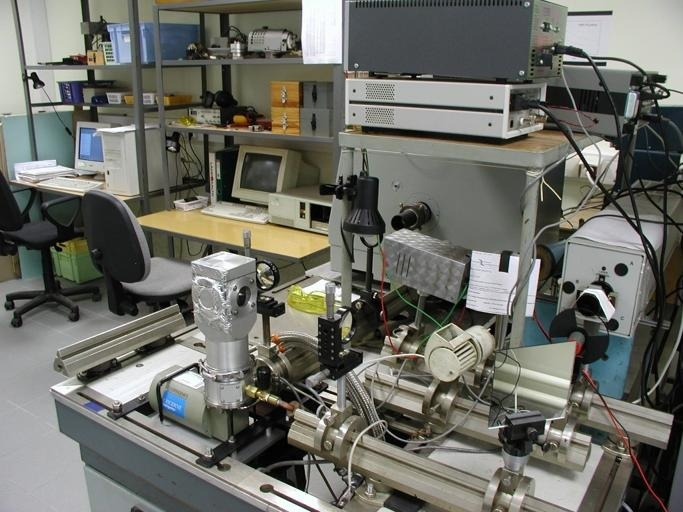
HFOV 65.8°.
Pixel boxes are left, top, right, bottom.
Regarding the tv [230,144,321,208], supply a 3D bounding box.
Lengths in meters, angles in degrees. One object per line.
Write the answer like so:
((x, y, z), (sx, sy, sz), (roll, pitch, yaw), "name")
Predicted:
((-0.473, -0.627, 3.602), (0.428, 0.338, 0.445), (15, 24, 30), "tv")

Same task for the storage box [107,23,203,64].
((-1.325, -1.458, 3.781), (0.344, 0.275, 0.545), (11, 18, 36), "storage box")

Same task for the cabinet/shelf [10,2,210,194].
((-1.749, -1.202, 4.104), (1.434, 1.762, 0.573), (11, 22, 30), "cabinet/shelf")

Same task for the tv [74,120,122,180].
((-1.866, -0.809, 4.083), (0.426, 0.449, 0.237), (12, 12, 34), "tv")

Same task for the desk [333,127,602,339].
((0.323, -0.142, 1.740), (0.872, 0.548, 0.738), (6, 20, 17), "desk")

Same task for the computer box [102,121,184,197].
((-1.556, -0.736, 4.018), (0.294, 0.477, 0.489), (9, 19, 18), "computer box")

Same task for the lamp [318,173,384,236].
((0.025, -0.129, 1.414), (0.182, 0.166, 0.104), (5, 4, -3), "lamp")

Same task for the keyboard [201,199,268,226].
((-0.707, -0.309, 3.612), (0.395, 0.041, 0.159), (15, 40, 26), "keyboard")
